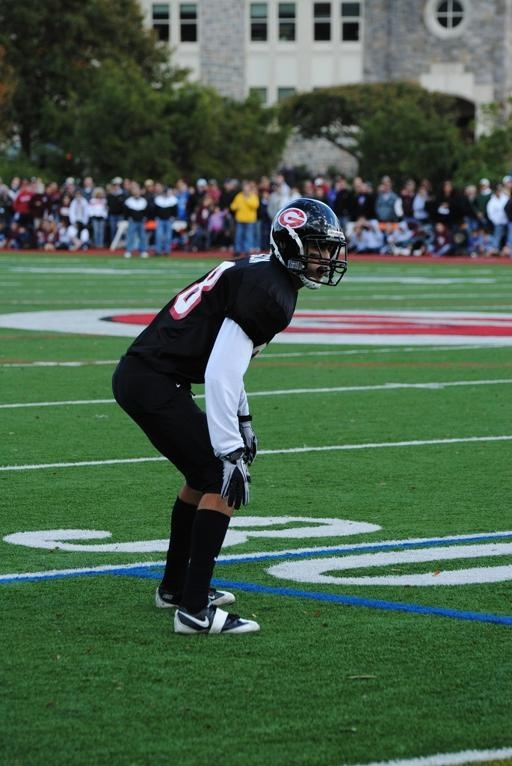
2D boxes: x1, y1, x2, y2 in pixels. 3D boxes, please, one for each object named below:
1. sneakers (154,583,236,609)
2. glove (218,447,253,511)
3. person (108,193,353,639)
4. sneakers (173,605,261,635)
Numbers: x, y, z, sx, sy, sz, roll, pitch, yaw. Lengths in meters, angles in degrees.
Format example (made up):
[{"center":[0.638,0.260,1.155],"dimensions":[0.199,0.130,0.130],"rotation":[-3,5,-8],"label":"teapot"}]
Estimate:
[{"center":[-0.193,0.677,4.071],"dimensions":[0.259,0.085,0.085],"rotation":[-1,6,-6],"label":"sneakers"},{"center":[-0.059,0.283,3.790],"dimensions":[0.113,0.168,0.060],"rotation":[22,48,-11],"label":"glove"},{"center":[-0.108,0.075,3.937],"dimensions":[0.699,1.313,0.520],"rotation":[4,6,1],"label":"person"},{"center":[-0.119,0.696,3.814],"dimensions":[0.273,0.090,0.090],"rotation":[-1,-1,-6],"label":"sneakers"}]
